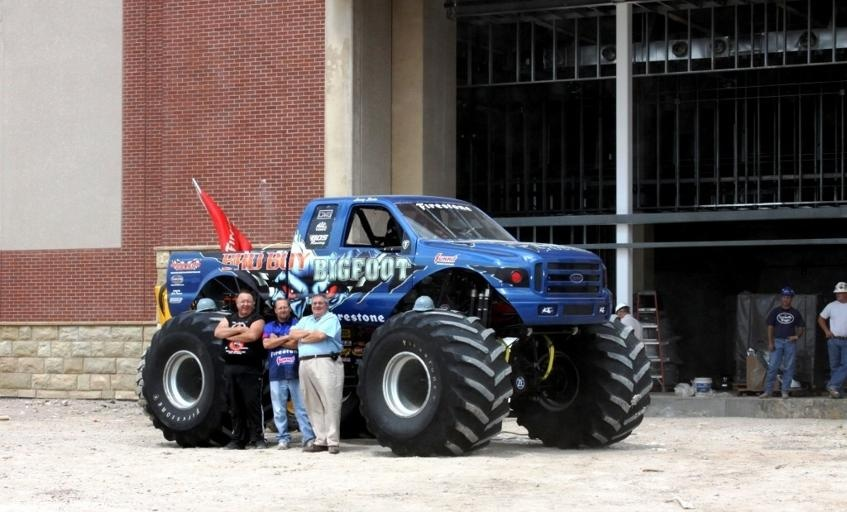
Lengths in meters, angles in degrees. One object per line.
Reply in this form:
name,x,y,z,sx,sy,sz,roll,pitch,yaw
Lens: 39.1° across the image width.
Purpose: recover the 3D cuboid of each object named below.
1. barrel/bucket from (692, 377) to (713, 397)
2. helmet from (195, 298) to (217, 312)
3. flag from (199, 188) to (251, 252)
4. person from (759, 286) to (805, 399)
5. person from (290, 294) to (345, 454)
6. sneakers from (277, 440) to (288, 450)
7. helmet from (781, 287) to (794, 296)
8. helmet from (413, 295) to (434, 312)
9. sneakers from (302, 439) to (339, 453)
barrel/bucket,7.132,3.361,30.527,0.531,0.428,0.442,1,-7,-6
helmet,-4.568,1.033,24.986,0.336,0.233,0.267,10,7,29
flag,-4.832,-0.857,29.023,0.661,2.223,0.323,-30,49,-8
person,9.033,2.194,30.100,1.030,2.694,1.493,-1,-1,17
person,-2.049,2.284,23.146,0.898,3.058,0.398,-1,-1,0
sneakers,-2.790,3.726,23.548,0.230,0.164,0.213,-1,-1,-9
helmet,9.900,0.978,32.493,0.401,0.243,0.551,3,8,19
helmet,-0.019,0.920,23.069,0.419,0.289,0.656,-1,-1,0
sneakers,-2.014,3.716,23.210,0.674,0.245,0.231,6,-5,3
